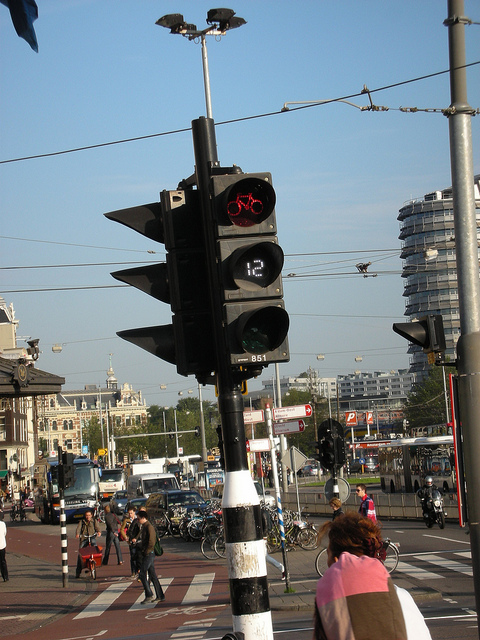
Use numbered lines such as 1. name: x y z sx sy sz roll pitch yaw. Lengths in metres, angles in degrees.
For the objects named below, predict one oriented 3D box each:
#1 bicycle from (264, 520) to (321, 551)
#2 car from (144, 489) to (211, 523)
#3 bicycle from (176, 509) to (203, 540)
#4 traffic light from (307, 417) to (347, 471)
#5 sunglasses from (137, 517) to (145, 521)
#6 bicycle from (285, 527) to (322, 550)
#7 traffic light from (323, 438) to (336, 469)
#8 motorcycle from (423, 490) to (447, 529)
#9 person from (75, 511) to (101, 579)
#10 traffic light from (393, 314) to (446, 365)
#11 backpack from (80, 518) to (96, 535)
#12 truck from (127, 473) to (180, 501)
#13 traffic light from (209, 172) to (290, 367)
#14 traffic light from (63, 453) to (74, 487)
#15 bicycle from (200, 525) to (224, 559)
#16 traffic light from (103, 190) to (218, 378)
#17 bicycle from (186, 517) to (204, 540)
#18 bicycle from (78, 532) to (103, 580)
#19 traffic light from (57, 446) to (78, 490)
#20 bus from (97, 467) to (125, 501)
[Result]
1. bicycle: 1.257 5.232 21.276 1.244 0.595 1.130 -6 -7 5
2. car: -2.415 6.367 30.850 1.727 1.326 2.813 3 -12 -39
3. bicycle: -1.625 6.421 28.143 0.695 0.937 0.290 5 -3 0
4. traffic light: 1.472 2.052 14.521 0.464 0.836 0.564 -6 -7 4
5. sunglasses: -1.806 3.574 15.939 0.087 0.054 0.116 4 -6 -33
6. bicycle: 1.502 5.243 21.274 0.841 0.516 0.408 -3 -8 -17
7. traffic light: 1.437 2.174 14.510 0.274 0.465 0.117 -12 -10 41
8. motorcycle: 5.566 5.499 25.603 0.562 1.051 1.339 -7 -7 10
9. person: -3.512 5.182 20.694 0.548 1.447 1.892 -3 -2 -14
10. traffic light: 1.634 0.239 8.013 0.447 0.495 0.300 -2 -31 5
11. backpack: -3.525 4.811 20.662 0.239 0.326 0.311 1 3 -2
12. truck: -3.854 7.183 39.448 1.924 1.666 3.278 0 -9 -17
13. traffic light: 0.061 -0.282 4.896 0.361 1.077 0.204 -6 -7 -3
14. traffic light: -3.631 3.181 18.931 0.128 0.683 0.484 -7 -7 6
15. bicycle: -0.493 5.534 21.881 0.897 0.750 0.465 0 -2 5
16. traffic light: -0.439 -0.208 5.005 0.522 1.066 0.229 -5 -7 -6
17. bicycle: -1.403 6.533 27.779 0.493 0.623 0.490 -5 -7 -6
18. bicycle: -3.335 5.255 20.027 0.678 0.892 1.547 -6 -2 -6
19. traffic light: -3.646 3.158 18.888 0.438 0.940 0.234 -1 3 9
20. bus: -8.349 10.334 55.690 1.613 1.803 4.101 0 -6 -2
